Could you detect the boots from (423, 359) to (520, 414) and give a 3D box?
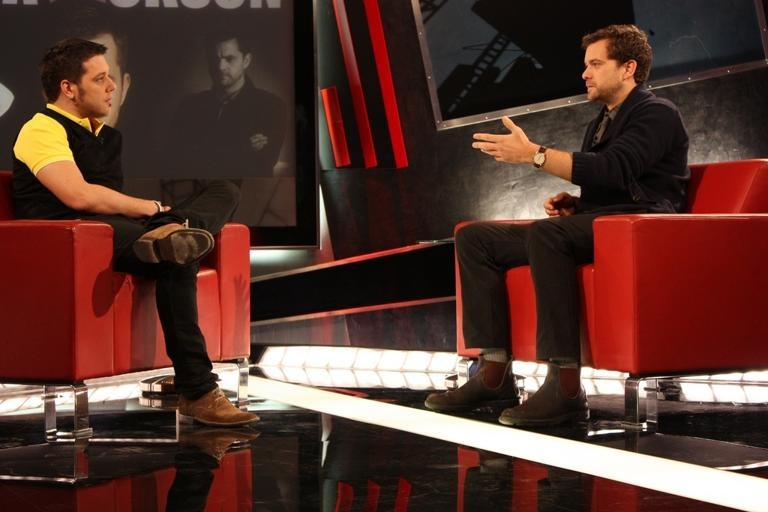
[{"bbox_3d":[0.379,0.540,2.978,0.414,0.236,0.159,0,-7,-7],"label":"boots"}]

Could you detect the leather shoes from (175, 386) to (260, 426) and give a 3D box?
[{"bbox_3d":[-0.651,0.593,2.713,0.371,0.143,0.128,2,0,19],"label":"leather shoes"}]

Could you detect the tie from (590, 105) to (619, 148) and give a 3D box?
[{"bbox_3d":[0.969,-0.577,3.032,0.065,0.117,0.161,-20,-27,-48],"label":"tie"}]

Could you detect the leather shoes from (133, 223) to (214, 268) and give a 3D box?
[{"bbox_3d":[-0.764,-0.037,2.487,0.325,0.116,0.152,-1,17,9],"label":"leather shoes"}]

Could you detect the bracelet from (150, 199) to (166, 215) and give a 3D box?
[{"bbox_3d":[-0.930,-0.201,2.835,0.110,0.051,0.136,4,0,-20],"label":"bracelet"}]

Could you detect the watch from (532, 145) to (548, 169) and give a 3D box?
[{"bbox_3d":[0.635,-0.398,2.790,0.059,0.090,0.084,23,17,10],"label":"watch"}]
